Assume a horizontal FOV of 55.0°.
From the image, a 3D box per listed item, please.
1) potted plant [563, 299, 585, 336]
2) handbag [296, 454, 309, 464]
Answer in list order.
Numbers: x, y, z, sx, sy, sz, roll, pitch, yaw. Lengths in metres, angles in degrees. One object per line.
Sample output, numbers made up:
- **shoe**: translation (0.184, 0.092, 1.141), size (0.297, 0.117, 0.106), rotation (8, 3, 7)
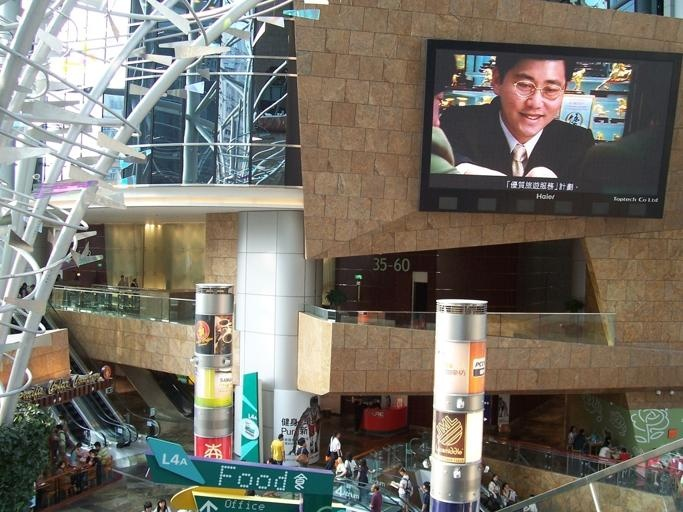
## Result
- **potted plant**: translation (7.976, 2.121, 22.440), size (0.706, 1.492, 0.612), rotation (-1, 2, -18)
- **handbag**: translation (-1.061, 5.764, 18.690), size (0.391, 0.207, 0.519), rotation (-14, -29, 24)
